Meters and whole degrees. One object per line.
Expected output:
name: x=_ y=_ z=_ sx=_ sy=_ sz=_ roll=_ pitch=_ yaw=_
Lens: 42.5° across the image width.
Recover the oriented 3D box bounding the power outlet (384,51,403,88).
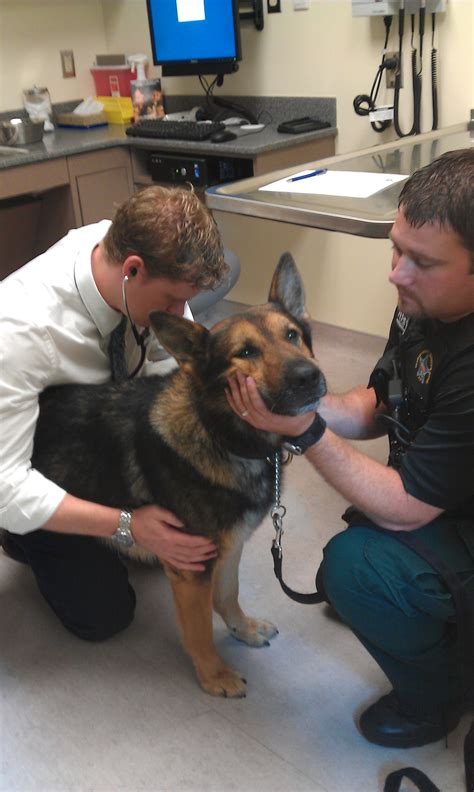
power outlet: x=0.710 y=-1.488 z=2.764 sx=0.047 sy=0.149 sz=0.142 roll=-19 pitch=32 yaw=-28

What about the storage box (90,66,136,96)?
storage box: x=-0.803 y=-2.083 z=4.019 sx=0.293 sy=0.207 sz=0.168 roll=27 pitch=42 yaw=33

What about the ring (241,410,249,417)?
ring: x=0.013 y=0.031 z=0.996 sx=0.010 sy=0.003 sz=0.010 roll=-34 pitch=0 yaw=0

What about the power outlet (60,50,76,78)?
power outlet: x=-1.148 y=-2.254 z=4.126 sx=0.018 sy=0.183 sz=0.132 roll=16 pitch=35 yaw=24

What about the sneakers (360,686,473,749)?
sneakers: x=0.330 y=0.599 z=1.113 sx=0.154 sy=0.104 sz=0.097 roll=-19 pitch=31 yaw=1

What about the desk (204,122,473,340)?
desk: x=0.406 y=-0.614 z=2.701 sx=0.794 sy=0.390 sz=1.314 roll=16 pitch=39 yaw=35

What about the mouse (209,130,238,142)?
mouse: x=-0.071 y=-1.299 z=3.020 sx=0.063 sy=0.043 sz=0.119 roll=20 pitch=33 yaw=28

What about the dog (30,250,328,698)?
dog: x=-0.166 y=0.149 z=1.274 sx=0.737 sy=0.809 sz=0.344 roll=15 pitch=23 yaw=35
